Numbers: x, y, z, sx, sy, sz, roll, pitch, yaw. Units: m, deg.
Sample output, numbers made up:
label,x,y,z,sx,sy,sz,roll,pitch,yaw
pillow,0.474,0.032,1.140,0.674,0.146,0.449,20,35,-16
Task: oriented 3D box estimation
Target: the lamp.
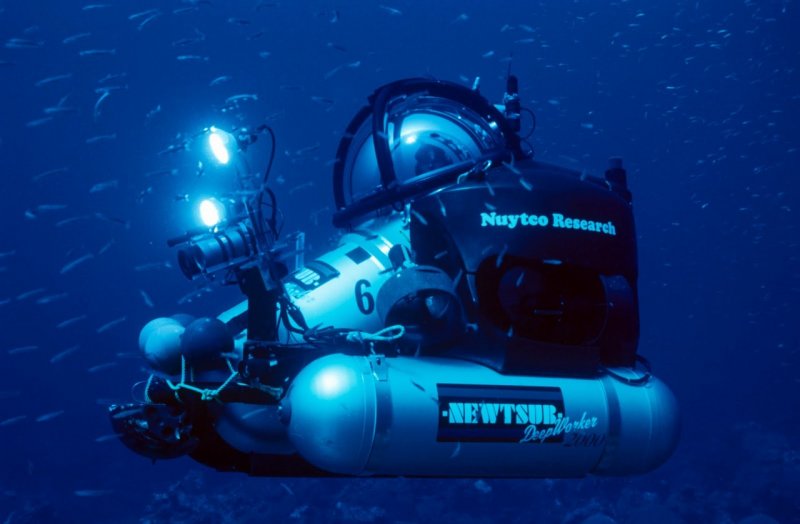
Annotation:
label,x,y,z,sx,sy,sz,roll,pitch,yaw
lamp,-1.790,-0.916,10.083,0.801,1.026,0.469,-9,22,-7
